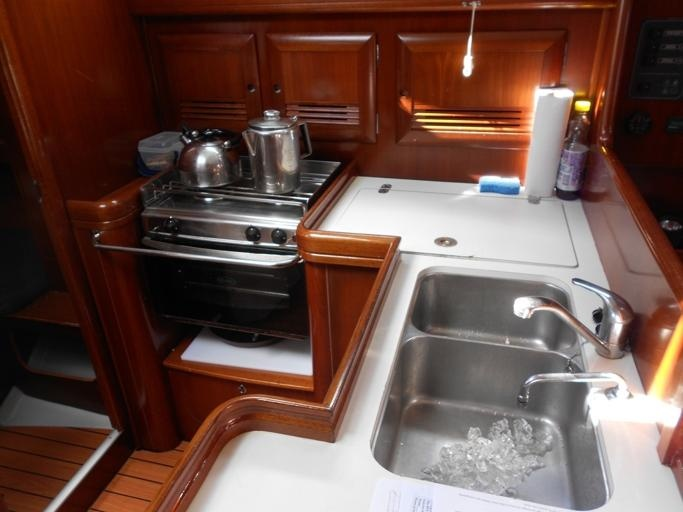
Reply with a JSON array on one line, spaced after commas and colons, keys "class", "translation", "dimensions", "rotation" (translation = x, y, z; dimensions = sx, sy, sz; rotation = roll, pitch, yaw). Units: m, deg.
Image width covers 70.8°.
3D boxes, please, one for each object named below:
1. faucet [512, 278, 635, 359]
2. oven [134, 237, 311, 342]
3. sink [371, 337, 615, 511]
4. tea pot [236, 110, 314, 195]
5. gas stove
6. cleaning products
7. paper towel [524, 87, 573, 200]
[{"class": "faucet", "translation": [0.577, 0.153, 1.211], "dimensions": [0.298, 0.147, 0.133], "rotation": [2, 31, 7]}, {"class": "oven", "translation": [-0.437, 0.042, 2.119], "dimensions": [0.679, 0.453, 0.492], "rotation": [6, 31, 15]}, {"class": "sink", "translation": [0.363, 0.408, 1.201], "dimensions": [0.467, 0.295, 0.418], "rotation": [8, 33, 16]}, {"class": "tea pot", "translation": [-0.244, -0.452, 1.950], "dimensions": [0.218, 0.344, 0.358], "rotation": [25, 36, 35]}, {"class": "gas stove", "translation": [-0.445, -0.163, 1.871], "dimensions": [0.497, 0.226, 0.418], "rotation": [6, 35, 12]}, {"class": "cleaning products", "translation": [0.879, -0.382, 1.803], "dimensions": [0.108, 0.384, 0.113], "rotation": [-4, 34, 7]}, {"class": "paper towel", "translation": [0.764, -0.400, 1.785], "dimensions": [0.114, 0.386, 0.098], "rotation": [8, 31, 17]}]
